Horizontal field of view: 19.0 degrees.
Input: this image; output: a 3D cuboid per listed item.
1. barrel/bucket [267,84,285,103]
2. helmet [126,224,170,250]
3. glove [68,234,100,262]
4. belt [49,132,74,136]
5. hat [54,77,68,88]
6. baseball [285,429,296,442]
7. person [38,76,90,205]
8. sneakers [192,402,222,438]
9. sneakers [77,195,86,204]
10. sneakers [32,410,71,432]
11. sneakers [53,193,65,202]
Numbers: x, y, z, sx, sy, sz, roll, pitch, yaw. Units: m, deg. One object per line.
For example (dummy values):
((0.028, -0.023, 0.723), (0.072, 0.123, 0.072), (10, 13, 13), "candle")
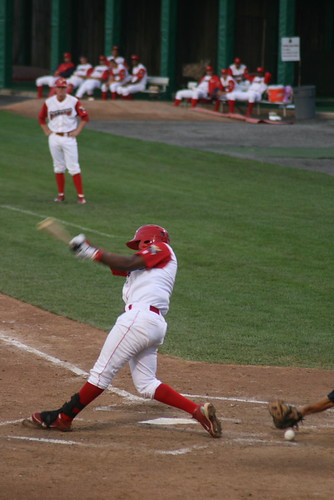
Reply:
((2.599, -3.764, 23.785), (0.415, 0.440, 0.411), (0, 7, 0), "barrel/bucket")
((-0.146, -0.082, 7.365), (0.260, 0.165, 0.183), (-7, -18, 5), "helmet")
((-0.579, -0.007, 7.035), (0.200, 0.101, 0.157), (30, 43, 25), "glove")
((-1.427, -1.582, 13.512), (0.270, 0.047, 0.095), (-1, 6, -7), "belt")
((-1.416, -2.270, 13.376), (0.157, 0.146, 0.364), (0, 6, -6), "hat")
((0.898, 1.355, 7.208), (0.077, 0.065, 0.059), (-2, -14, -40), "baseball")
((-1.414, -1.561, 13.732), (0.656, 1.590, 0.924), (-1, 6, -7), "person")
((0.314, 1.218, 7.151), (0.145, 0.368, 0.121), (-15, 23, 21), "sneakers")
((-1.213, -0.773, 14.378), (0.111, 0.120, 0.167), (11, 19, -9), "sneakers")
((-0.814, 1.221, 7.212), (0.291, 0.163, 0.132), (14, -2, 5), "sneakers")
((-1.537, -0.768, 14.428), (0.172, 0.180, 0.088), (8, 9, 1), "sneakers")
